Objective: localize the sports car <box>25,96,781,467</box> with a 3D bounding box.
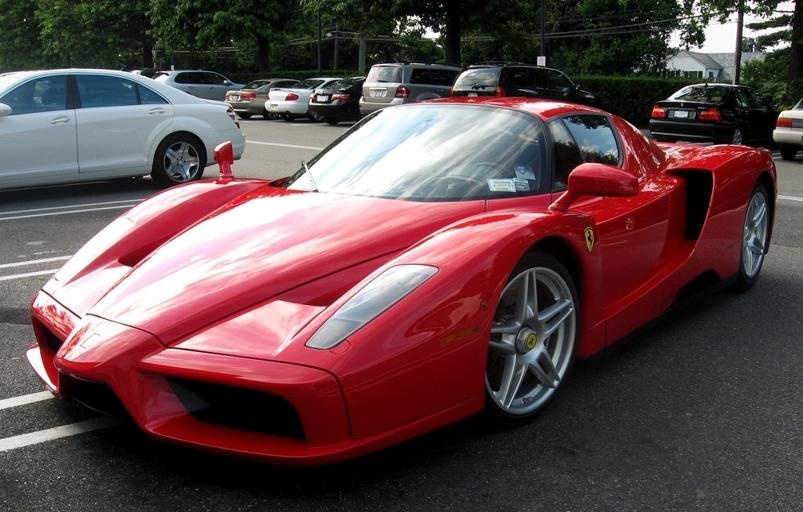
[{"bbox_3d":[0.121,-0.120,4.165,4.629,1.823,2.110,-12,17,-33],"label":"sports car"}]
